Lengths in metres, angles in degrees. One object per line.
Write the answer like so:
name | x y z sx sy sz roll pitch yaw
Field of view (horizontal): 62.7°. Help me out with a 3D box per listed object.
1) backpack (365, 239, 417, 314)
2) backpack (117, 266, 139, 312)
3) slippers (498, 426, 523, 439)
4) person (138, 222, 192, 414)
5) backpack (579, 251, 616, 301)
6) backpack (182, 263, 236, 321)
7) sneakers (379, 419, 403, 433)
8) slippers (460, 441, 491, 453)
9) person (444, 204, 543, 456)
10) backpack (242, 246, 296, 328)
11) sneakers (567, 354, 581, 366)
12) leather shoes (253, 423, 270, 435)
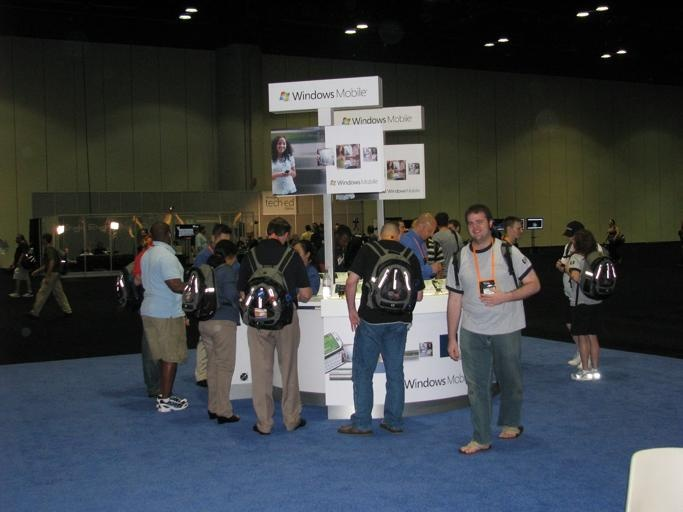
backpack | 0.354 0.203 4.627 0.335 0.536 0.497 2 4 -7
backpack | -2.485 0.366 6.612 0.287 0.549 0.153 -9 -5 2
slippers | 1.427 1.465 4.702 0.177 0.079 0.102 6 -8 -25
person | -1.763 0.636 5.723 0.670 1.948 0.328 3 8 37
backpack | 2.807 0.240 6.133 0.426 0.509 0.335 -7 9 -35
backpack | -1.334 0.344 5.406 0.529 0.638 0.422 4 -5 -33
sneakers | 0.444 1.504 4.977 0.076 0.094 0.217 0 3 -21
slippers | 1.048 1.469 4.397 0.212 0.091 0.104 2 0 -11
person | 1.189 0.575 4.419 0.664 1.958 0.400 -3 7 -10
backpack | -0.626 0.296 4.840 0.454 0.683 0.382 -3 7 -6
sneakers | 3.152 1.410 7.580 0.148 0.113 0.169 -1 -1 -10
leather shoes | -0.719 1.537 5.010 0.061 0.088 0.184 1 6 -37
